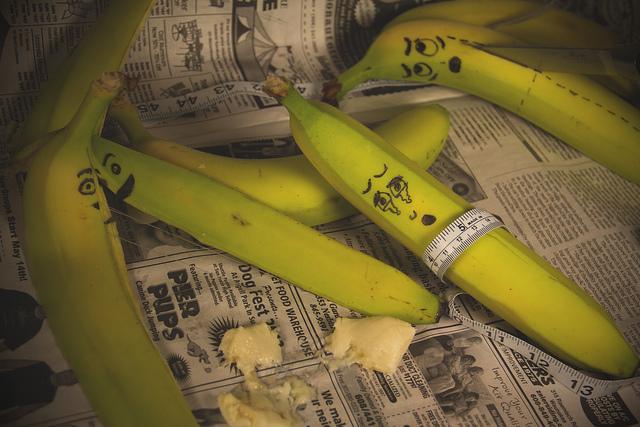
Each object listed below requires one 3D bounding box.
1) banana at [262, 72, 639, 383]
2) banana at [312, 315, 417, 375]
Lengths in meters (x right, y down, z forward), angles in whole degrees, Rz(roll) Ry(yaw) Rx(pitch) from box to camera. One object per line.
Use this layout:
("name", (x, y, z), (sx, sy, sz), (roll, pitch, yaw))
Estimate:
("banana", (0.267, 0.045, 1.222), (0.795, 0.155, 0.143), (41, -2, 2))
("banana", (0.079, 0.228, 1.116), (0.165, 0.049, 0.104), (0, 69, 10))
